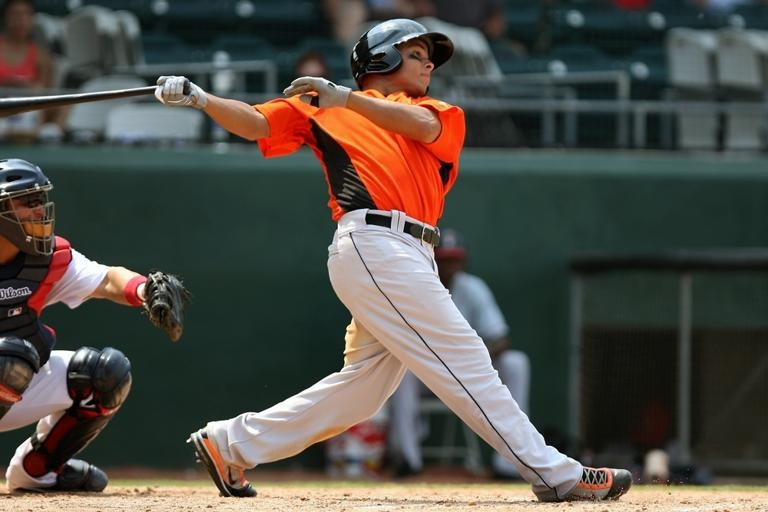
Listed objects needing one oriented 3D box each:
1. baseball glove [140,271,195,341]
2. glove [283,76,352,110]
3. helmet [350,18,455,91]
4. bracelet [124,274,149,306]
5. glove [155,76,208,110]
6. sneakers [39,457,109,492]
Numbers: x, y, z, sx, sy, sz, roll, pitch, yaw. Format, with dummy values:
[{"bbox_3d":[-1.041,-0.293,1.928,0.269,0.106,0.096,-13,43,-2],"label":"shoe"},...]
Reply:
[{"bbox_3d":[-1.182,0.277,6.783,0.174,0.359,0.270,-22,-6,21],"label":"baseball glove"},{"bbox_3d":[-0.372,-0.890,6.825,0.383,0.162,0.170,1,5,3],"label":"glove"},{"bbox_3d":[0.017,-1.181,7.124,0.517,0.307,0.345,-8,4,11],"label":"helmet"},{"bbox_3d":[-1.394,0.187,6.986,0.122,0.156,0.141,3,-20,-4],"label":"bracelet"},{"bbox_3d":[-1.103,-0.879,6.723,0.239,0.109,0.166,17,-3,-32],"label":"glove"},{"bbox_3d":[-1.840,1.293,7.370,0.464,0.191,0.165,-8,2,20],"label":"sneakers"}]
